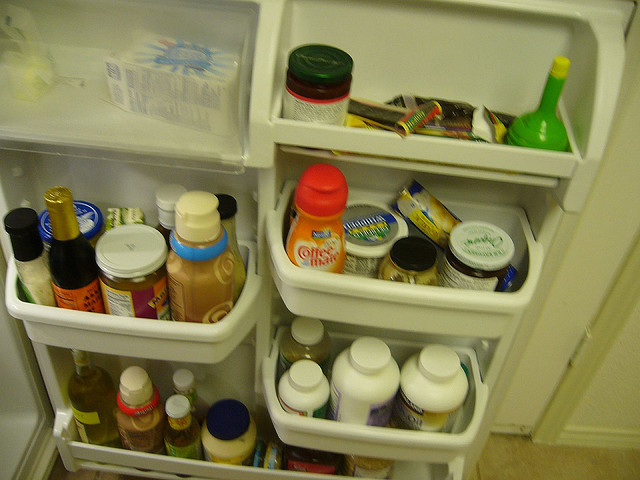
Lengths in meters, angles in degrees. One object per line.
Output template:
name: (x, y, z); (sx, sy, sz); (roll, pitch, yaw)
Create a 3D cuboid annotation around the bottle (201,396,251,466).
bottle: (-0.220, 0.457, 1.156); (0.099, 0.170, 0.100); (1, 66, -1)

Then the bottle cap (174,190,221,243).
bottle cap: (-0.208, -0.040, 0.857); (0.082, 0.072, 0.083); (2, 53, -9)

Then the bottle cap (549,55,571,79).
bottle cap: (0.386, -0.281, 0.789); (0.024, 0.030, 0.044); (21, 43, 21)

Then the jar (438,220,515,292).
jar: (0.267, 0.032, 0.925); (0.124, 0.134, 0.126); (1, 48, -1)

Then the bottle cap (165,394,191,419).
bottle cap: (-0.315, 0.371, 1.097); (0.046, 0.042, 0.046); (-20, 65, -19)

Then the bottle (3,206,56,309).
bottle: (-0.533, 0.036, 0.920); (0.054, 0.187, 0.072); (0, 39, -4)

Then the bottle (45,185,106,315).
bottle: (-0.452, 0.032, 0.896); (0.073, 0.260, 0.083); (19, 42, 19)

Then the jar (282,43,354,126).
jar: (-0.002, -0.263, 0.832); (0.108, 0.096, 0.121); (4, 39, 1)

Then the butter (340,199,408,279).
butter: (0.098, -0.012, 0.938); (0.140, 0.049, 0.142); (0, 51, -4)

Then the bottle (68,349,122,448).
bottle: (-0.552, 0.373, 1.197); (0.102, 0.357, 0.099); (6, 30, -3)

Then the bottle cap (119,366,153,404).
bottle cap: (-0.406, 0.323, 1.089); (0.073, 0.068, 0.074); (5, 49, 0)

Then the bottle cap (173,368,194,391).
bottle cap: (-0.314, 0.321, 1.136); (0.043, 0.038, 0.043); (15, 52, 1)

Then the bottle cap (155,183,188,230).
bottle cap: (-0.279, -0.065, 0.931); (0.059, 0.062, 0.059); (38, 54, 22)

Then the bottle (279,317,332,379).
bottle: (-0.032, 0.237, 1.071); (0.119, 0.203, 0.120); (1, 58, -2)

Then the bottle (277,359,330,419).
bottle: (-0.032, 0.345, 1.086); (0.113, 0.195, 0.115); (2, 43, -2)

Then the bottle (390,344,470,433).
bottle: (0.246, 0.336, 1.098); (0.145, 0.250, 0.147); (0, 43, 0)

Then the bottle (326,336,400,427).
bottle: (0.094, 0.321, 1.086); (0.145, 0.250, 0.147); (3, 40, -3)

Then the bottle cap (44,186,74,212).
bottle cap: (-0.447, -0.070, 0.845); (0.041, 0.035, 0.041); (27, 45, 27)

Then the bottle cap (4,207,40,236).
bottle cap: (-0.530, -0.034, 0.879); (0.052, 0.026, 0.054); (-16, 43, -21)

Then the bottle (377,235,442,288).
bottle: (0.162, 0.046, 0.941); (0.097, 0.090, 0.099); (21, 59, 11)

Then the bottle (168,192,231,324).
bottle: (-0.232, 0.045, 0.949); (0.120, 0.289, 0.122); (7, 40, -6)

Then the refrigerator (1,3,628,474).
refrigerator: (-0.058, 0.067, 1.004); (1.123, 0.993, 0.432); (4, 39, 1)

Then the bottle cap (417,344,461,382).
bottle cap: (0.250, 0.248, 1.019); (0.067, 0.063, 0.068); (10, 38, 17)

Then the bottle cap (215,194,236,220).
bottle cap: (-0.179, -0.068, 0.957); (0.044, 0.042, 0.045); (-11, 57, -12)

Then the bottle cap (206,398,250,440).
bottle cap: (-0.215, 0.420, 1.150); (0.076, 0.072, 0.076); (3, 65, 1)

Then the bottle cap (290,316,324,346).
bottle cap: (-0.030, 0.200, 1.079); (0.067, 0.024, 0.068); (15, 44, 1)

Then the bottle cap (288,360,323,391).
bottle cap: (-0.029, 0.278, 1.016); (0.055, 0.050, 0.055); (-10, 61, -8)

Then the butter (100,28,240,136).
butter: (-0.255, -0.287, 0.874); (0.257, 0.126, 0.120); (11, 40, 9)

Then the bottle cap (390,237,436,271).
bottle cap: (0.169, 0.024, 0.893); (0.080, 0.024, 0.073); (14, 41, 13)
